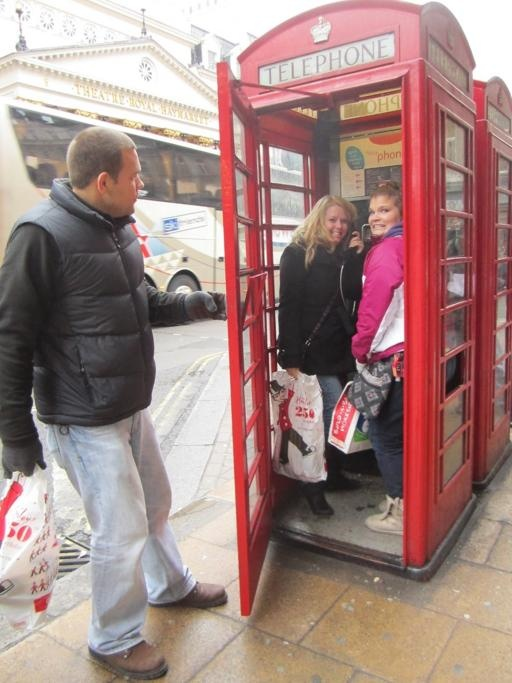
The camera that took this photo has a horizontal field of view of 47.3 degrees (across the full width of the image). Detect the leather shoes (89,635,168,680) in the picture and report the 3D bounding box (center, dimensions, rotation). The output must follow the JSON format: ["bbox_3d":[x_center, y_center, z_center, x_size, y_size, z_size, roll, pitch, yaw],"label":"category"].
[{"bbox_3d":[-0.469,1.153,2.170,0.263,0.110,0.111,0,-4,17],"label":"leather shoes"}]

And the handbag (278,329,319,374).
[{"bbox_3d":[0.212,0.036,3.173,0.072,0.253,0.155,33,-7,-19],"label":"handbag"}]

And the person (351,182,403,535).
[{"bbox_3d":[0.611,0.105,2.924,0.248,1.799,0.461,-1,9,13],"label":"person"}]

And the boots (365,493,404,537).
[{"bbox_3d":[0.688,0.910,3.055,0.258,0.174,0.111,4,6,45],"label":"boots"}]

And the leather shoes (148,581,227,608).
[{"bbox_3d":[-0.299,1.083,2.580,0.332,0.128,0.118,-1,1,-6],"label":"leather shoes"}]

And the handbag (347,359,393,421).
[{"bbox_3d":[0.559,0.225,2.866,0.088,0.279,0.232,19,-3,5],"label":"handbag"}]

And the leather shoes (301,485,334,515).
[{"bbox_3d":[0.323,0.898,3.297,0.089,0.164,0.239,-2,-3,-13],"label":"leather shoes"}]

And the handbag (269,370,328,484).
[{"bbox_3d":[0.215,0.451,3.141,0.290,0.595,0.183,-1,9,11],"label":"handbag"}]

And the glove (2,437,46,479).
[{"bbox_3d":[-0.790,0.383,1.986,0.119,0.147,0.056,-1,7,-13],"label":"glove"}]
